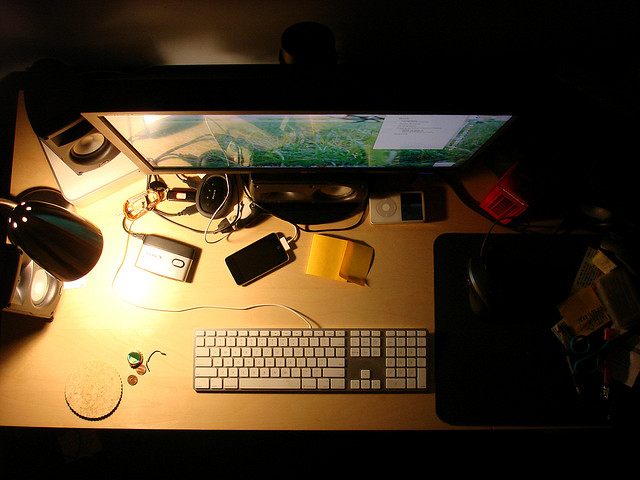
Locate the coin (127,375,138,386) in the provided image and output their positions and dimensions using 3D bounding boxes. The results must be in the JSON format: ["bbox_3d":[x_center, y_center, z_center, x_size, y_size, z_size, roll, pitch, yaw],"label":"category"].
[{"bbox_3d":[-0.533,0.398,1.467,0.031,0.011,0.025,41,69,17],"label":"coin"}]

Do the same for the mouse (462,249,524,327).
[{"bbox_3d":[0.491,0.151,1.516,0.165,0.067,0.214,-1,72,-21],"label":"mouse"}]

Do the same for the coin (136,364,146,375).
[{"bbox_3d":[-0.512,0.369,1.472,0.025,0.009,0.027,-41,72,-19],"label":"coin"}]

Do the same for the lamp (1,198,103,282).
[{"bbox_3d":[-0.665,-0.003,1.285,0.271,0.192,0.162,12,83,9],"label":"lamp"}]

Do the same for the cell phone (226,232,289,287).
[{"bbox_3d":[-0.184,0.065,1.526,0.148,0.015,0.082,-28,89,-4],"label":"cell phone"}]

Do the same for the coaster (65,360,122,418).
[{"bbox_3d":[-0.640,0.419,1.459,0.156,0.046,0.147,9,64,2],"label":"coaster"}]

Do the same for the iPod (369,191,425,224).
[{"bbox_3d":[0.238,-0.094,1.596,0.153,0.030,0.090,-4,86,0],"label":"iPod"}]
